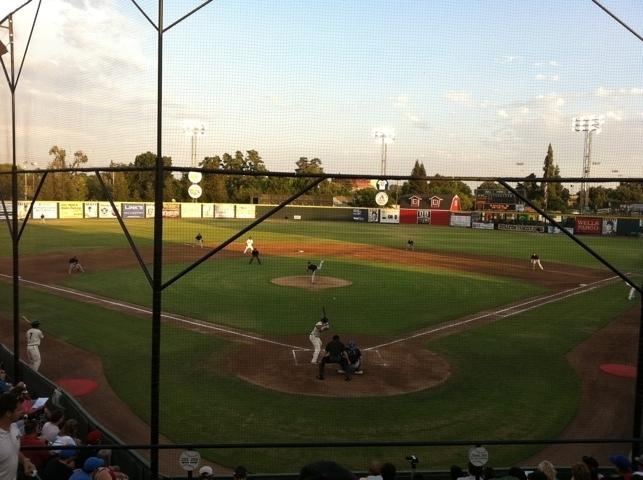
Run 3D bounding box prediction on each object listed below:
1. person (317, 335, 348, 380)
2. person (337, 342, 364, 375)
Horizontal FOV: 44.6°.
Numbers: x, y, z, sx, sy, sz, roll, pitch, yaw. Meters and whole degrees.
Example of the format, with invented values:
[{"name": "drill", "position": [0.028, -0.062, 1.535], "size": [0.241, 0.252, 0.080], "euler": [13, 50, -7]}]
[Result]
[{"name": "person", "position": [0.509, 3.857, 26.186], "size": [0.998, 1.522, 0.840], "euler": [8, -22, -8]}, {"name": "person", "position": [1.111, 3.933, 26.329], "size": [0.788, 1.118, 0.960], "euler": [3, 0, -20]}]
